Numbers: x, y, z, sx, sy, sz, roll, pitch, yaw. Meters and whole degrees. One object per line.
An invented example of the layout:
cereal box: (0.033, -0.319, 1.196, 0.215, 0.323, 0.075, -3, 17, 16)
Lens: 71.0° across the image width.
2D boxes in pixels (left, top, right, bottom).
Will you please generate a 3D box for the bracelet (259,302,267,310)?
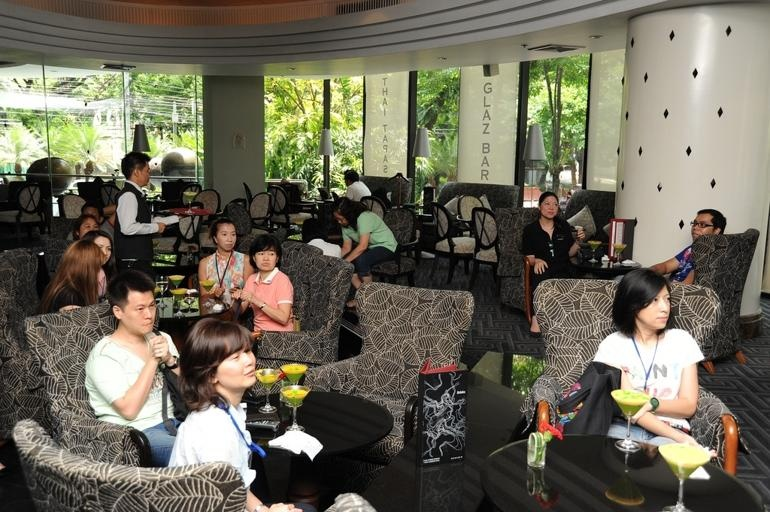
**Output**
bracelet: (-0.978, 0.401, 4.346, 0.034, 0.061, 0.022, 36, 22, 31)

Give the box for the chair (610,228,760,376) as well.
chair: (3.067, 0.504, 5.351, 0.898, 1.180, 0.891, -7, -12, -11)

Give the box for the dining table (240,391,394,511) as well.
dining table: (-0.396, 1.123, 3.186, 0.774, 0.492, 0.776, 2, 6, -13)

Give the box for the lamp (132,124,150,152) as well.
lamp: (-5.436, -2.642, 12.037, 0.366, 0.651, 0.382, -6, 13, -24)

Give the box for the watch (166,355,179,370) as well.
watch: (-1.158, 0.592, 2.985, 0.056, 0.064, 0.073, -2, 9, 1)

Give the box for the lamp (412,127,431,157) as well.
lamp: (0.847, -2.673, 12.616, 0.367, 0.671, 0.772, 0, 12, 2)

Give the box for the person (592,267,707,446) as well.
person: (1.483, 0.553, 3.257, 0.704, 1.062, 0.904, -2, 3, 14)

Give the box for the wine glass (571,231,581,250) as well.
wine glass: (2.296, -0.180, 6.507, 0.073, 0.221, 0.164, 15, -2, 12)

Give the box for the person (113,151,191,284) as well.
person: (-2.477, -0.103, 5.665, 0.709, 1.964, 0.736, 0, 12, -19)

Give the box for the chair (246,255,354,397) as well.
chair: (-0.647, 0.485, 4.280, 0.879, 1.253, 0.905, 1, 0, -15)

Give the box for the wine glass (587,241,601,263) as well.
wine glass: (2.345, -0.060, 6.052, 0.196, 0.244, 0.207, 0, 0, 23)

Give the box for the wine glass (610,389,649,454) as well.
wine glass: (1.174, 0.797, 2.612, 0.186, 0.242, 0.193, 4, -1, -41)

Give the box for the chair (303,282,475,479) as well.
chair: (0.034, 0.863, 3.502, 0.908, 1.176, 1.020, 2, 1, 21)

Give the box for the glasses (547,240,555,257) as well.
glasses: (1.925, -0.088, 6.290, 0.044, 0.127, 0.133, -5, -12, -2)

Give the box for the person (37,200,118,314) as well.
person: (-2.697, -0.018, 4.770, 0.519, 0.934, 1.051, 12, 24, -36)

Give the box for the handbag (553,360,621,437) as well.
handbag: (1.107, 0.773, 2.890, 0.336, 0.377, 0.287, 1, 12, 9)
